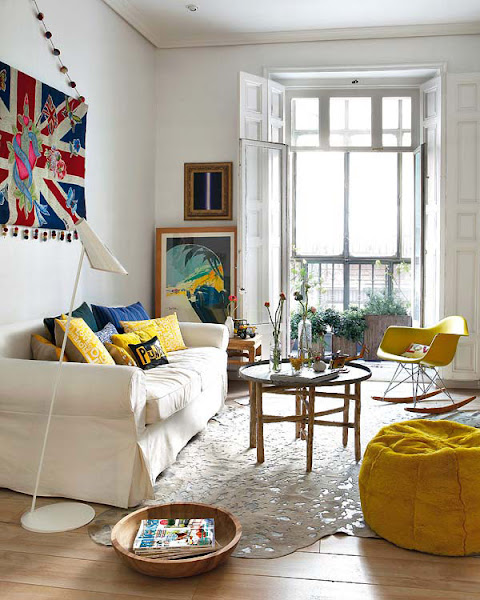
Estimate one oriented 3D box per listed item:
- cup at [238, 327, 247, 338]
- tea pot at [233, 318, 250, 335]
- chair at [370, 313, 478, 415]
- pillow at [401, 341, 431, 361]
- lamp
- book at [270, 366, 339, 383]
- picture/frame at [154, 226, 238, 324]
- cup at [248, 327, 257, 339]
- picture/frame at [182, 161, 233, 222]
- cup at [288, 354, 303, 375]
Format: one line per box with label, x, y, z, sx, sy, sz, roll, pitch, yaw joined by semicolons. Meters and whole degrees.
cup;0.023;0.308;5.094;0.093;0.159;0.089;1;-4;0
tea pot;0.012;0.266;5.191;0.140;0.245;0.140;1;3;0
chair;1.625;0.540;4.879;0.918;0.932;0.758;0;1;-29
pillow;1.533;0.450;4.722;0.219;0.113;0.163;0;2;18
lamp;-0.794;0.295;2.656;0.467;1.364;0.835;-1;2;-12
book;0.381;0.455;3.166;0.372;0.054;0.327;0;2;19
picture/frame;-0.401;-0.229;5.459;1.067;1.206;0.048;0;-5;4
cup;0.117;0.320;5.104;0.103;0.058;0.161;0;2;2
picture/frame;-0.311;-1.131;5.612;0.694;0.740;0.054;0;0;8
cup;0.337;0.382;3.173;0.100;0.102;0.094;1;-1;0
